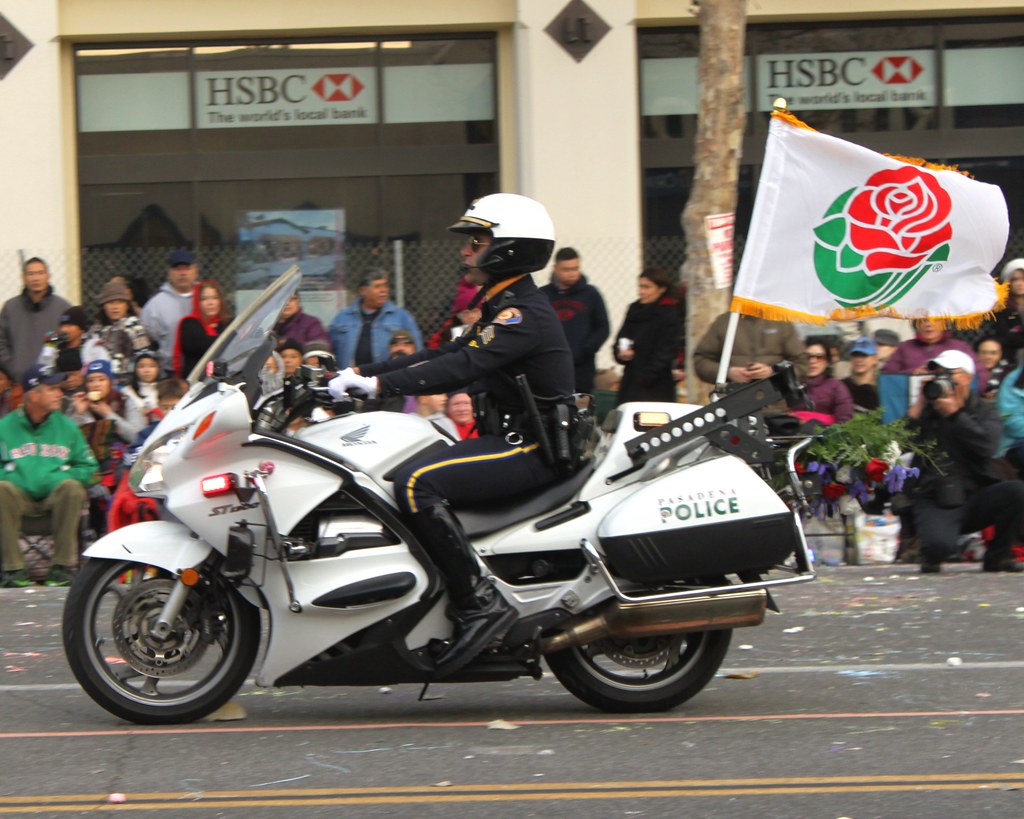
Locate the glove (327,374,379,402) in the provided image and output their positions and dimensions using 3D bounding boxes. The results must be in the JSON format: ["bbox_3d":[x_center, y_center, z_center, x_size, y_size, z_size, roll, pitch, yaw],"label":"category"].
[{"bbox_3d":[-0.763,-0.105,6.607,0.240,0.120,0.076,-1,47,-6],"label":"glove"}]

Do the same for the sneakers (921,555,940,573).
[{"bbox_3d":[3.354,1.260,11.047,0.170,0.103,0.141,-1,-3,24],"label":"sneakers"}]

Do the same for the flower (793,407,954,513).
[{"bbox_3d":[2.705,0.388,10.625,1.387,0.637,1.170,-5,-2,-29],"label":"flower"}]

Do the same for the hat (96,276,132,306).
[{"bbox_3d":[-3.624,-1.081,12.637,0.347,0.193,0.393,-3,11,-10],"label":"hat"}]

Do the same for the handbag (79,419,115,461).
[{"bbox_3d":[-3.403,0.252,11.361,0.434,0.272,0.115,-6,5,-27],"label":"handbag"}]

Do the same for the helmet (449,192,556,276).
[{"bbox_3d":[0.003,-0.893,7.032,0.683,0.309,0.447,1,-1,0],"label":"helmet"}]

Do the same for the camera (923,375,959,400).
[{"bbox_3d":[3.430,-0.166,11.072,0.210,0.205,0.329,0,4,26],"label":"camera"}]

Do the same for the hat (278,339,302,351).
[{"bbox_3d":[-1.869,-0.538,11.658,0.210,0.093,0.202,-1,2,-2],"label":"hat"}]

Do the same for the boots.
[{"bbox_3d":[-0.223,0.880,6.676,0.485,0.850,0.190,-2,5,-3],"label":"boots"}]

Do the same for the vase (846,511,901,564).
[{"bbox_3d":[3.021,1.088,11.549,0.450,0.407,0.217,-1,5,10],"label":"vase"}]

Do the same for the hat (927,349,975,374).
[{"bbox_3d":[3.580,-0.386,11.221,0.340,0.118,0.219,10,-12,-41],"label":"hat"}]

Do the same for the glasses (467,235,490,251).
[{"bbox_3d":[-0.159,-0.854,7.094,0.116,0.072,0.035,-2,9,17],"label":"glasses"}]

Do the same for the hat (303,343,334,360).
[{"bbox_3d":[-0.966,-0.281,6.702,0.175,0.076,0.099,1,-3,5],"label":"hat"}]
